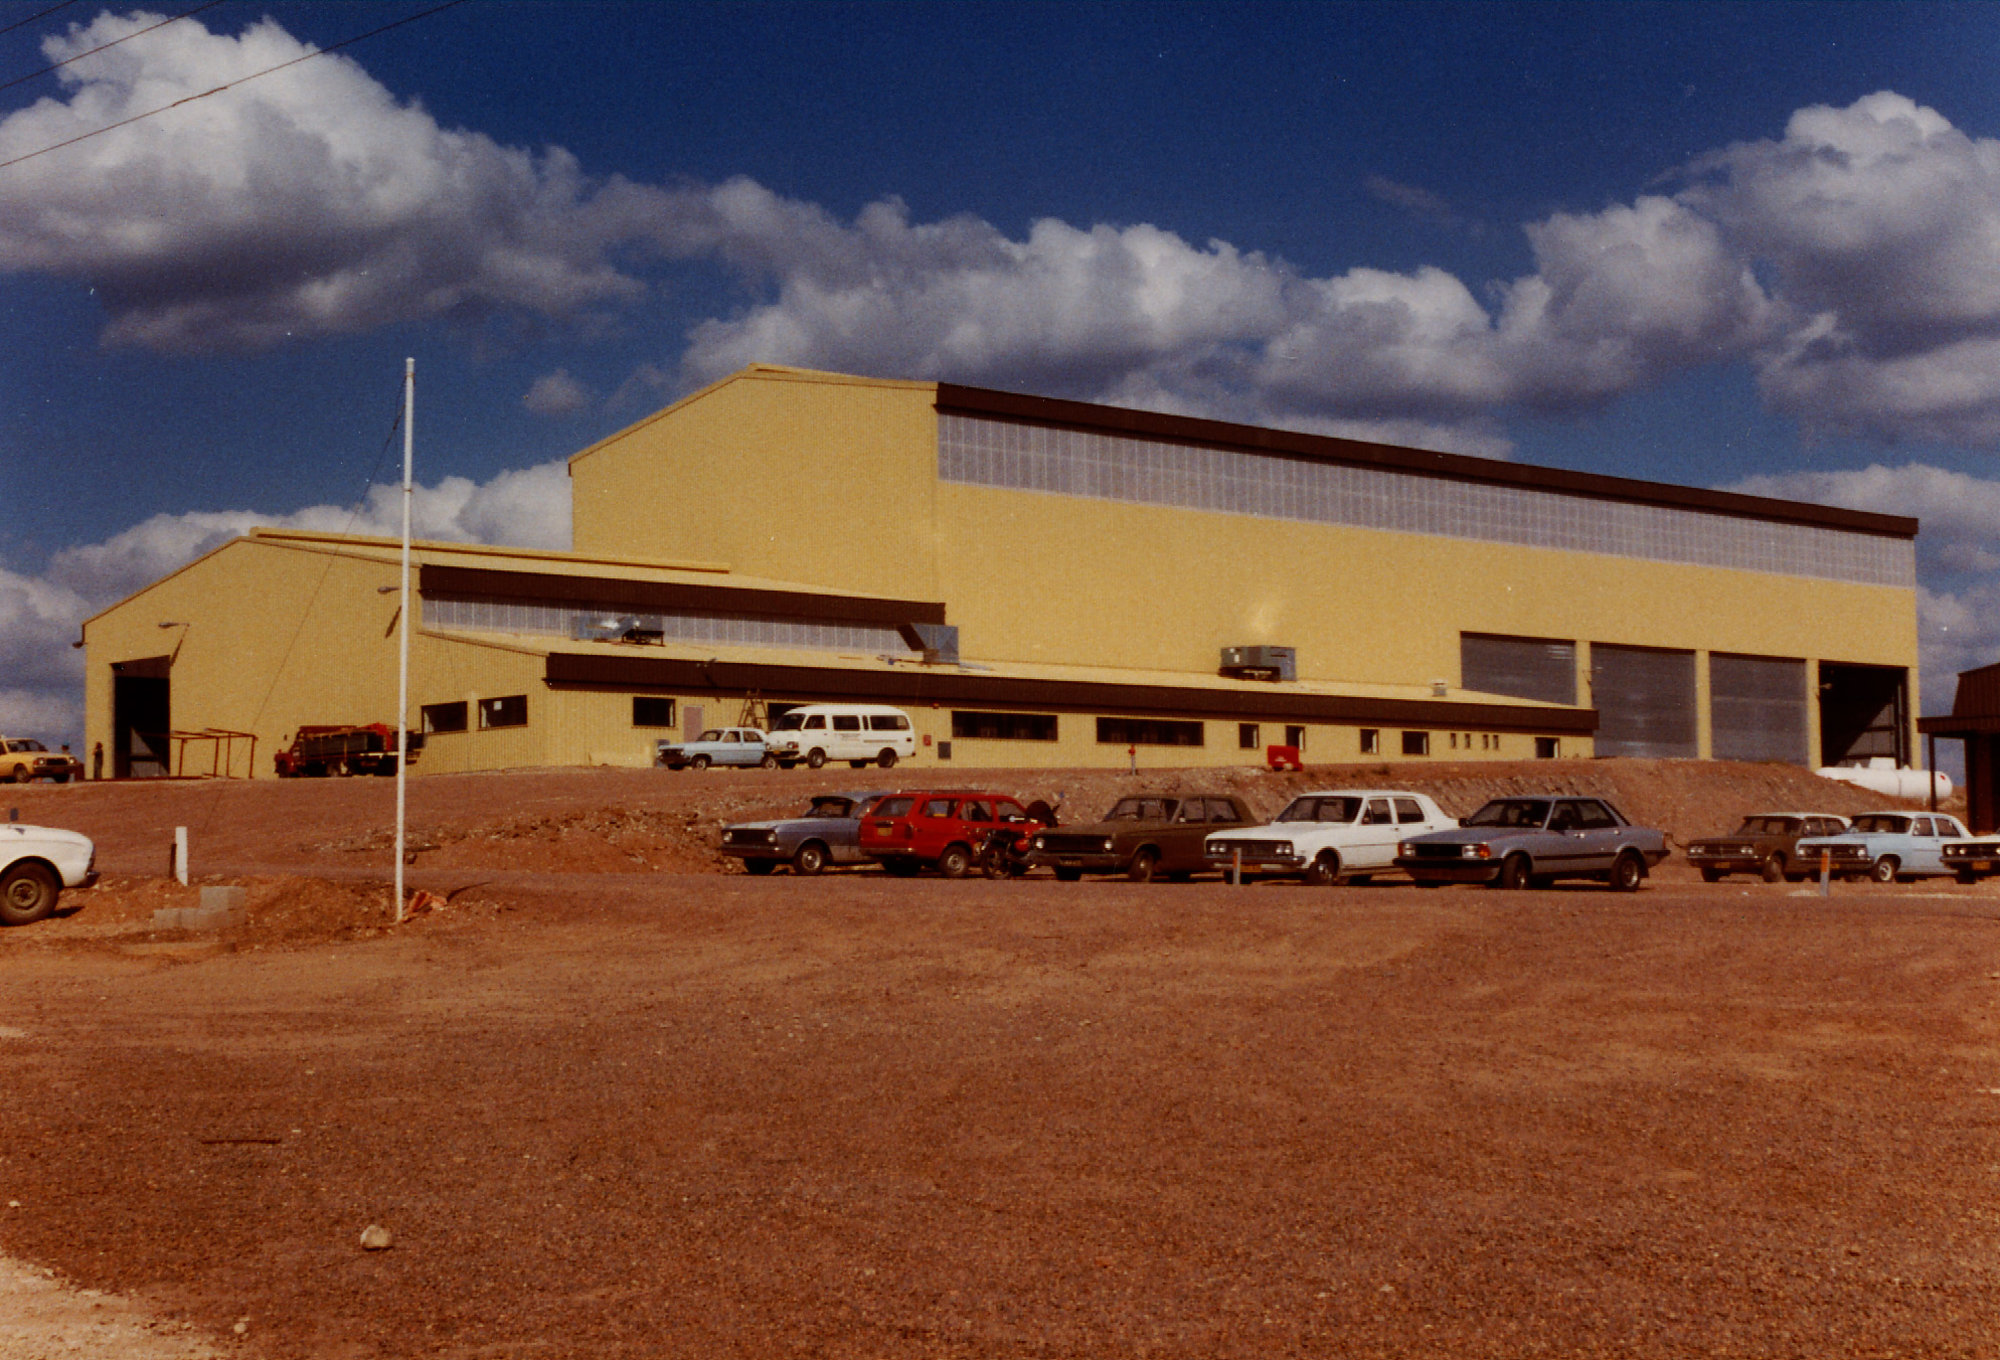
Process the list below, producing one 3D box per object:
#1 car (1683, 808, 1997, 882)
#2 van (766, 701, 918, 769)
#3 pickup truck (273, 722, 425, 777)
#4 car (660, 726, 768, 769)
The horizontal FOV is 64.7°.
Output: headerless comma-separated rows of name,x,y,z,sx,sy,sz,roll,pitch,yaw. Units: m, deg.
car,18.017,3.682,34.018,5.377,1.526,2.618,0,2,-12
van,-5.817,2.126,56.257,4.483,1.894,2.308,3,-7,-26
pickup truck,-24.000,2.644,57.771,6.332,2.182,3.728,-1,-1,38
car,-9.847,2.447,54.407,2.879,0.914,1.589,0,-3,-1
